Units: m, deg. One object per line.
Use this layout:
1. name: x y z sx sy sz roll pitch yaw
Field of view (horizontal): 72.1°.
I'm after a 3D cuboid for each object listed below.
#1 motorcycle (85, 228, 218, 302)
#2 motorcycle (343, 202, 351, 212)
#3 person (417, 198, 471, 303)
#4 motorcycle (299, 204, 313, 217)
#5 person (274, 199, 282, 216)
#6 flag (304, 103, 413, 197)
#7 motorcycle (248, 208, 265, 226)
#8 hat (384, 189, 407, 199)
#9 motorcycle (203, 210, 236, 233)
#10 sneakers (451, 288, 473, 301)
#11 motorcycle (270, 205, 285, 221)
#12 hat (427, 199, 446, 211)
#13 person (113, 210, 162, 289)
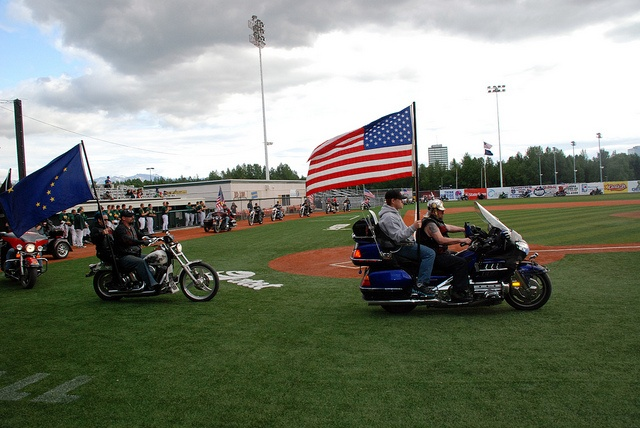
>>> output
1. motorcycle: -3.559 1.159 10.427 3.021 1.488 1.426 -3 3 5
2. motorcycle: 2.905 -0.804 48.983 0.524 1.059 1.573 -3 12 0
3. person: 2.415 0.626 8.343 1.003 1.784 0.918 3 13 26
4. motorcycle: -1.394 -0.350 41.321 1.036 1.048 1.159 -4 12 -6
5. person: -3.477 -0.432 36.881 0.687 1.076 0.538 -4 -7 -7
6. flag: 0.971 -1.454 10.552 2.889 1.986 0.854 8 16 41
7. motorcycle: -4.829 0.167 32.882 0.598 1.318 1.605 3 13 25
8. hat: 1.417 -0.363 8.358 0.297 0.161 0.202 -9 10 0
9. motorcycle: -6.204 0.473 27.223 1.095 1.338 1.708 5 14 34
10. sneakers: 2.569 1.499 8.020 0.461 0.186 0.152 1 -8 3
11. motorcycle: -3.647 -0.092 36.684 0.673 1.346 1.559 3 13 24
12. hat: 2.207 -0.162 8.395 0.333 0.163 0.250 -8 16 -15
13. person: -4.162 0.807 9.813 0.642 1.734 1.085 -12 15 -38
